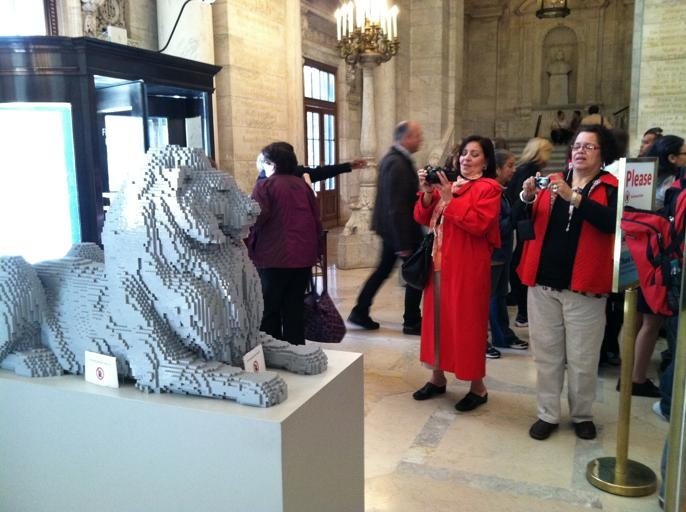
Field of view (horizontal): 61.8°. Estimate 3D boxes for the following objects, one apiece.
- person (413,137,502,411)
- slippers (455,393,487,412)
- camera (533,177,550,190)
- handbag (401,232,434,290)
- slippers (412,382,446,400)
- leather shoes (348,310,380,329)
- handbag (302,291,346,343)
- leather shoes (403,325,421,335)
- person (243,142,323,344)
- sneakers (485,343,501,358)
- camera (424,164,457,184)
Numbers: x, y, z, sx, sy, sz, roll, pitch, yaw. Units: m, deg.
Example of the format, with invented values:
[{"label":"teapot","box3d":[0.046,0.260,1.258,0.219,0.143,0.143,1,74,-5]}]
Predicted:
[{"label":"person","box3d":[0.772,0.130,3.949,0.559,1.874,0.474,4,14,25]},{"label":"slippers","box3d":[0.903,1.007,4.024,0.258,0.096,0.093,-3,-1,-43]},{"label":"camera","box3d":[1.230,-0.450,3.544,0.079,0.082,0.122,2,12,15]},{"label":"handbag","box3d":[0.557,0.024,4.284,0.180,0.408,0.408,22,12,4]},{"label":"slippers","box3d":[0.632,0.994,4.234,0.277,0.112,0.099,1,0,-34]},{"label":"leather shoes","box3d":[0.204,0.656,5.797,0.354,0.152,0.132,20,10,-6]},{"label":"handbag","box3d":[-0.178,0.488,4.703,0.434,0.424,0.223,-2,15,46]},{"label":"leather shoes","box3d":[0.672,0.726,5.623,0.195,0.086,0.068,0,5,9]},{"label":"person","box3d":[-0.425,0.032,4.245,0.547,1.254,0.323,-3,12,-7]},{"label":"sneakers","box3d":[1.301,0.819,5.009,0.092,0.105,0.227,-2,0,2]},{"label":"camera","box3d":[0.637,-0.536,3.805,0.150,0.072,0.154,10,7,41]}]
